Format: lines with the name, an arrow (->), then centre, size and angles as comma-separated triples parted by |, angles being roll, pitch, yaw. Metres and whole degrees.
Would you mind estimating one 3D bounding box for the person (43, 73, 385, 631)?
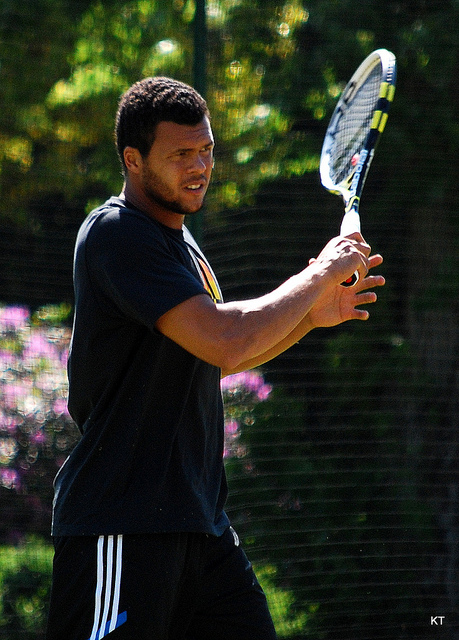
person -> -0.112, 0.116, 4.280 | 0.840, 1.879, 0.610 | -1, 1, -37
